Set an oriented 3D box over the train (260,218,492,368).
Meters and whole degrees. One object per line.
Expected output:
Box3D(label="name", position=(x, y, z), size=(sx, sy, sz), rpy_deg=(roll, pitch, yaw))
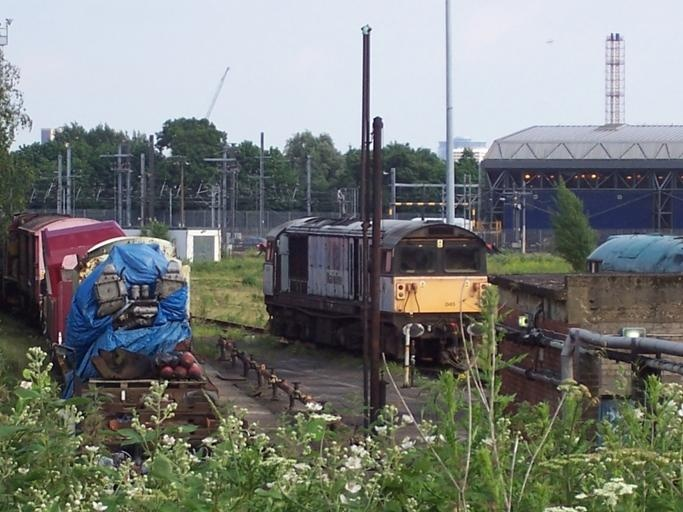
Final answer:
Box3D(label="train", position=(0.454, 0.863, 32.259), size=(2.592, 3.379, 9.360), rpy_deg=(1, 1, -23))
